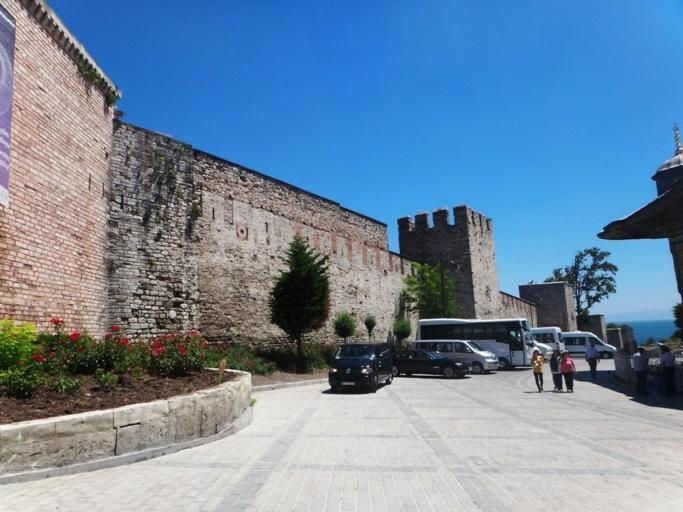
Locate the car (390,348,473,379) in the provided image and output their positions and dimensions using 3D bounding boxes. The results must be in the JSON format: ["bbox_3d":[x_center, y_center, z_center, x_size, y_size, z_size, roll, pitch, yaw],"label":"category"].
[{"bbox_3d":[4.171,4.911,22.637,3.300,0.971,1.407,-4,-7,24],"label":"car"}]

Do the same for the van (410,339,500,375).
[{"bbox_3d":[5.905,5.216,25.023,3.684,1.417,1.830,-5,-6,23],"label":"van"}]

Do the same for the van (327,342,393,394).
[{"bbox_3d":[0.703,4.146,18.253,1.637,1.687,2.652,-1,-6,22],"label":"van"}]

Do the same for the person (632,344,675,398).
[{"bbox_3d":[10.139,3.695,15.829,1.125,1.643,1.550,-1,-5,23],"label":"person"}]

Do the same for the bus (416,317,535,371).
[{"bbox_3d":[8.098,5.121,29.039,6.939,2.896,2.519,-8,-11,37],"label":"bus"}]
